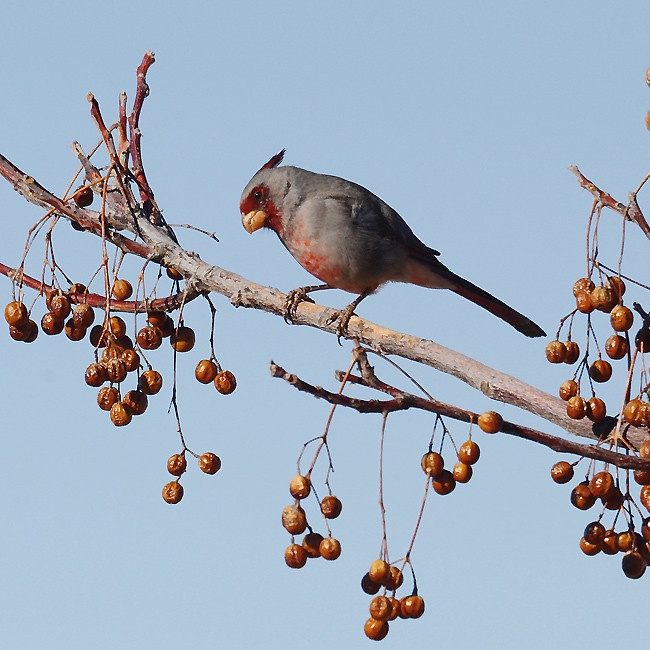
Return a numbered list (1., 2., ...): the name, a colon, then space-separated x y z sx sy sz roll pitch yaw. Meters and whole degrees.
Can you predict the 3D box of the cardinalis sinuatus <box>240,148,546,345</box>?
1. cardinalis sinuatus: 0.330 -0.351 6.953 1.488 0.484 0.886 2 -101 -5
